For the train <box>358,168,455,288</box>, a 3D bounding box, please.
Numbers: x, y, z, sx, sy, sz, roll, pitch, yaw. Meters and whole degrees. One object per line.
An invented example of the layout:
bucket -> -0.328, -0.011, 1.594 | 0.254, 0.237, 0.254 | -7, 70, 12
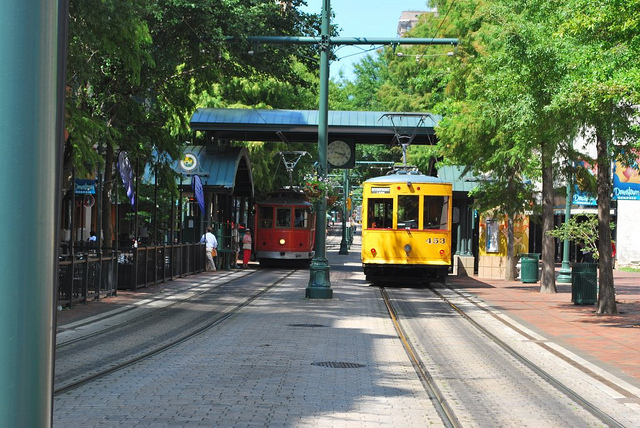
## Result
train -> 3.051, 0.410, 24.314 | 3.103, 4.086, 2.741 | 1, 0, 9

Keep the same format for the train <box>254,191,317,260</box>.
train -> -1.761, 0.501, 34.750 | 3.083, 3.281, 1.840 | 1, 0, -13

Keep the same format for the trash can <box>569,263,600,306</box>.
trash can -> 7.133, 1.891, 18.687 | 0.911, 1.237, 0.960 | -1, -2, 3

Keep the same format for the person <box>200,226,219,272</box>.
person -> -4.755, 1.439, 29.500 | 0.718, 1.810, 0.980 | 1, 0, -11

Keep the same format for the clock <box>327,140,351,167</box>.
clock -> 0.994, -3.172, 35.270 | 1.068, 1.296, 0.393 | 1, 0, 16

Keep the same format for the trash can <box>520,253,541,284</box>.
trash can -> 8.326, 2.104, 27.487 | 0.919, 1.271, 0.964 | 1, 5, 41
